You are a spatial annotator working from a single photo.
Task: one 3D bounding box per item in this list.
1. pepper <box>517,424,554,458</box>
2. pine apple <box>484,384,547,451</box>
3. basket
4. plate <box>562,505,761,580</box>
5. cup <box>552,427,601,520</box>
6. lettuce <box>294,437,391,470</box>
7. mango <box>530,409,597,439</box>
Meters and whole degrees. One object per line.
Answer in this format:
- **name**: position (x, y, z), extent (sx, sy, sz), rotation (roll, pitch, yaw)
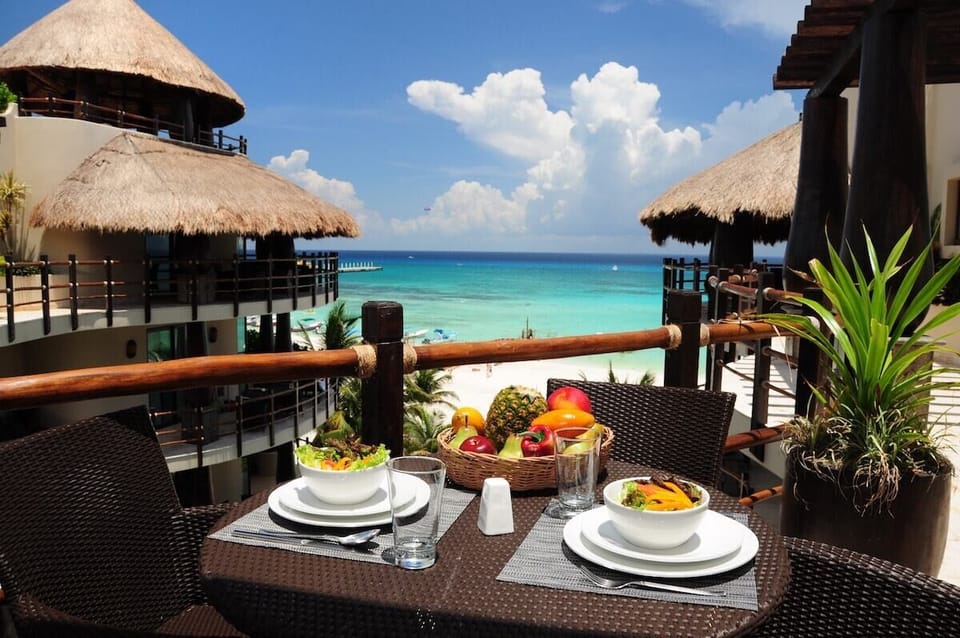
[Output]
- **pepper**: position (0.197, 0.425, 2.232), extent (0.093, 0.133, 0.096), rotation (3, 27, 27)
- **pine apple**: position (0.118, 0.340, 2.321), extent (0.212, 0.277, 0.165), rotation (0, -4, 13)
- **basket**: position (0.188, 0.436, 2.479), extent (0.689, 0.211, 0.622), rotation (2, 5, 13)
- **plate**: position (0.519, 0.634, 1.874), extent (0.309, 0.125, 0.457), rotation (-4, -2, 26)
- **cup**: position (0.305, 0.484, 2.030), extent (0.190, 0.251, 0.190), rotation (0, 3, 0)
- **lettuce**: position (-0.449, 0.440, 2.104), extent (0.172, 0.117, 0.242), rotation (0, 2, -16)
- **mango**: position (0.295, 0.344, 2.244), extent (0.187, 0.093, 0.103), rotation (-7, 43, -7)
